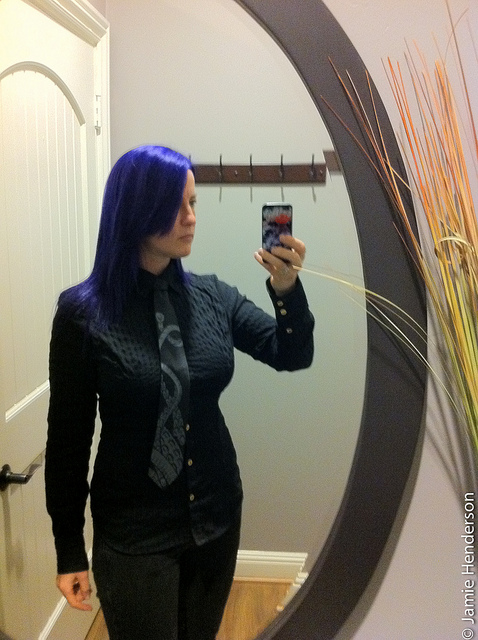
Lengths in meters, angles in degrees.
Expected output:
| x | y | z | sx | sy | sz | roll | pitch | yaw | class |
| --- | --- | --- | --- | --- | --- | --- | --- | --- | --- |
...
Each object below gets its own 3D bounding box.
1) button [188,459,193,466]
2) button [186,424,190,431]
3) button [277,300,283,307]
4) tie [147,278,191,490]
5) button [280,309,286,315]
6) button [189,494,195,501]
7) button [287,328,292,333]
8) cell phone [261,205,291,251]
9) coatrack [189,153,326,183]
| x | y | z | sx | sy | sz | roll | pitch | yaw | class |
| --- | --- | --- | --- | --- | --- | --- | --- | --- | --- |
| -0.068 | 0.198 | 0.726 | 0.006 | 0.007 | 0.002 | 1 | -1 | -33 | button |
| -0.072 | 0.148 | 0.723 | 0.001 | 0.007 | 0.006 | -1 | 6 | 18 | button |
| 0.058 | -0.024 | 0.760 | 0.007 | 0.008 | 0.002 | -9 | -1 | 31 | button |
| -0.097 | 0.088 | 0.728 | 0.055 | 0.286 | 0.045 | 1 | 3 | -7 | tie |
| 0.064 | -0.013 | 0.761 | 0.005 | 0.009 | 0.003 | -2 | -3 | 6 | button |
| -0.066 | 0.250 | 0.737 | 0.006 | 0.008 | 0.002 | -2 | 4 | -35 | button |
| 0.073 | 0.014 | 0.763 | 0.005 | 0.005 | 0.005 | 33 | -2 | -37 | button |
| 0.052 | -0.118 | 0.711 | 0.043 | 0.095 | 0.009 | 0 | -25 | 4 | cell phone |
| 0.021 | -0.212 | 0.727 | 0.219 | 0.045 | 0.102 | -4 | 17 | -7 | coatrack |
